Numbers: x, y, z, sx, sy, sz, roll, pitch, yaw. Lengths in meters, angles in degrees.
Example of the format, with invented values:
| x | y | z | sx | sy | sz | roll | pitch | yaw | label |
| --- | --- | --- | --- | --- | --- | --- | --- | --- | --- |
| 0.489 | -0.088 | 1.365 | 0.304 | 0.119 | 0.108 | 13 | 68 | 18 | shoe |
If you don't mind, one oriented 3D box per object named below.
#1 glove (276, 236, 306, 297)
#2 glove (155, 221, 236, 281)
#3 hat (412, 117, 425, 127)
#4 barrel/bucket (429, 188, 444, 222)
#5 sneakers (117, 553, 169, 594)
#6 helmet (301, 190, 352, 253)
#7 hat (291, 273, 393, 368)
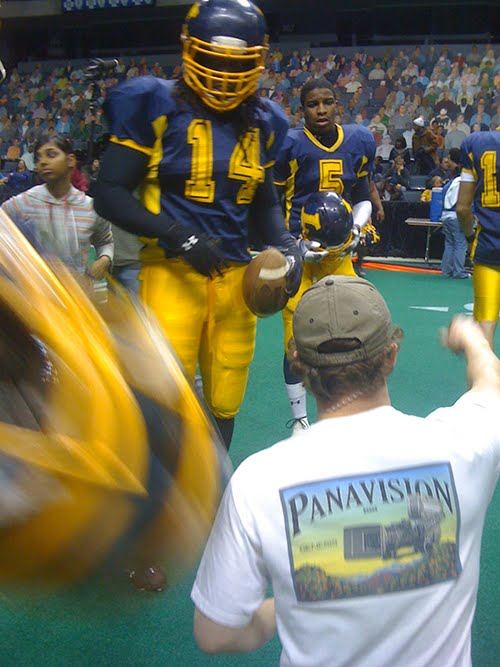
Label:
| x | y | z | sx | sy | sz | roll | pitch | yaw | label |
| --- | --- | --- | --- | --- | --- | --- | --- | --- | --- |
| 0.177 | -0.263 | 2.048 | 0.083 | 0.197 | 0.149 | 6 | 10 | -27 | glove |
| -0.176 | -0.261 | 1.700 | 0.223 | 0.128 | 0.069 | 35 | 59 | 13 | glove |
| 3.883 | -4.828 | 12.125 | 0.198 | 0.198 | 0.333 | 15 | 28 | 21 | hat |
| 3.623 | -2.482 | 10.218 | 0.175 | 0.606 | 0.327 | -21 | 36 | -39 | barrel/bucket |
| -0.248 | 0.581 | 1.297 | 0.154 | 0.103 | 0.034 | 4 | 39 | -7 | sneakers |
| 0.458 | -0.641 | 3.077 | 0.325 | 0.313 | 0.322 | 6 | 27 | 3 | helmet |
| 0.146 | -0.038 | 0.879 | 0.158 | 0.113 | 0.220 | -6 | 17 | 13 | hat |
